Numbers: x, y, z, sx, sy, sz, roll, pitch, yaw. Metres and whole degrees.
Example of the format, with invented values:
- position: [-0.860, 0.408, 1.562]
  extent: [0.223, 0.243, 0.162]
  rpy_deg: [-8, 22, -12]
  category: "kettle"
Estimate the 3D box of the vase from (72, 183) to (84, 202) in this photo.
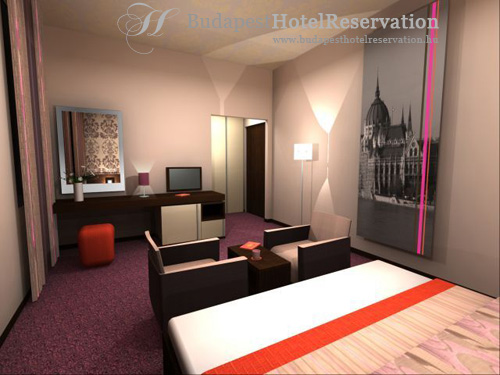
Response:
- position: [-2.428, 0.066, 4.754]
  extent: [0.118, 0.264, 0.212]
  rpy_deg: [-5, 8, -29]
  category: "vase"

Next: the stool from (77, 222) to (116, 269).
- position: [-1.994, 0.724, 4.482]
  extent: [0.494, 0.602, 0.488]
  rpy_deg: [3, 3, 20]
  category: "stool"

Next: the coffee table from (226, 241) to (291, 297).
- position: [0.123, 0.693, 3.714]
  extent: [0.396, 0.516, 0.763]
  rpy_deg: [-5, 9, -24]
  category: "coffee table"

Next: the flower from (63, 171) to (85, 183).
- position: [-2.565, -0.124, 4.884]
  extent: [0.302, 0.180, 0.332]
  rpy_deg: [-4, 8, -28]
  category: "flower"

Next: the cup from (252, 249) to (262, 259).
- position: [0.080, 0.734, 3.710]
  extent: [0.098, 0.077, 0.076]
  rpy_deg: [-4, 9, -30]
  category: "cup"

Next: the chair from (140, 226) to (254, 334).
- position: [-0.524, 0.723, 3.468]
  extent: [0.970, 0.919, 0.885]
  rpy_deg: [-5, 7, -33]
  category: "chair"
